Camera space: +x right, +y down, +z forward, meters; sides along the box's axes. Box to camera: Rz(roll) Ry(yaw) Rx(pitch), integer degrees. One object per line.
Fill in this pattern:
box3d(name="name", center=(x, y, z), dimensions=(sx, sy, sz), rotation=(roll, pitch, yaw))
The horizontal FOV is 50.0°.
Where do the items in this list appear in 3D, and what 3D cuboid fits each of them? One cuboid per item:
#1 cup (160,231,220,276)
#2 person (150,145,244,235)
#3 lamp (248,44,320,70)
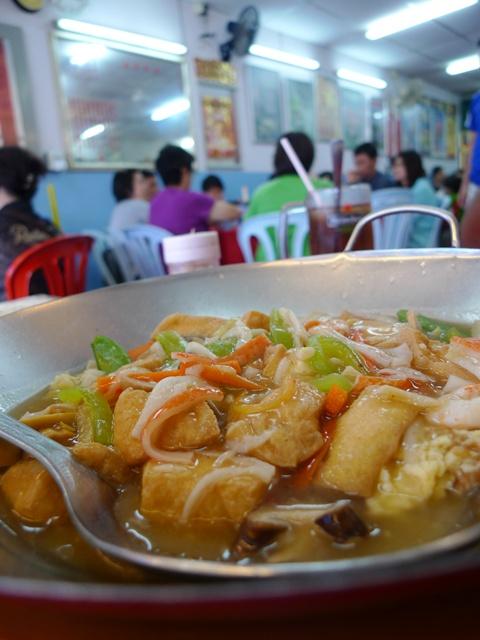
box3d(name="cup", center=(-0.085, -0.127, 0.995), dimensions=(0.107, 0.056, 0.101), rotation=(-10, 7, 1))
box3d(name="person", center=(-0.362, -0.865, 3.710), dimensions=(0.538, 0.740, 0.813), rotation=(-11, 12, -24))
box3d(name="lamp", center=(0.434, -2.772, 5.424), dimensions=(0.934, 0.131, 0.069), rotation=(-7, 49, -48))
